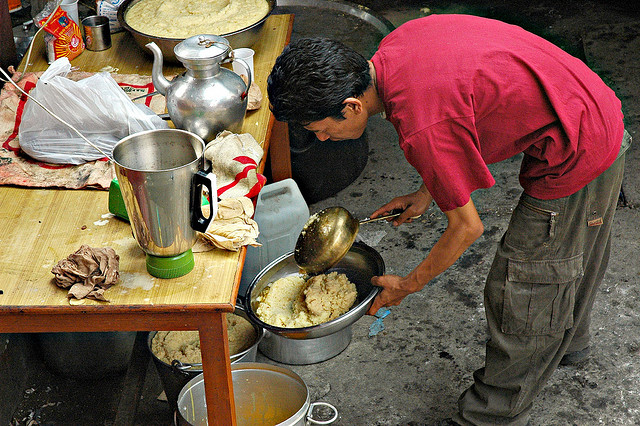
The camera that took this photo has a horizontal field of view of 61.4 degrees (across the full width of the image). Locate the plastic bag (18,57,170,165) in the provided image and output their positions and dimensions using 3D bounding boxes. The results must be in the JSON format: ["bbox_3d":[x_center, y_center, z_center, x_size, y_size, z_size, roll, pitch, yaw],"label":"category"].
[{"bbox_3d":[-1.160,-0.473,2.817,0.653,0.280,0.583,-10,65,-13],"label":"plastic bag"}]

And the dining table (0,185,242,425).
[{"bbox_3d":[-0.900,0.474,2.758,1.060,0.981,1.054,6,30,3],"label":"dining table"}]

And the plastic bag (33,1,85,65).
[{"bbox_3d":[-1.713,-1.199,3.559,0.263,0.300,0.444,-17,44,-21],"label":"plastic bag"}]

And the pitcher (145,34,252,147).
[{"bbox_3d":[-0.654,-0.675,2.896,0.503,0.599,0.414,11,32,10],"label":"pitcher"}]

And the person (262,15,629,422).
[{"bbox_3d":[0.714,0.105,2.820,1.561,2.011,0.946,16,42,16],"label":"person"}]

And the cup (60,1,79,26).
[{"bbox_3d":[-1.721,-1.403,3.719,0.097,0.164,0.288,-12,42,-16],"label":"cup"}]

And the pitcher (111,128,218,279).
[{"bbox_3d":[-0.621,0.006,2.260,0.428,0.504,0.315,5,21,14],"label":"pitcher"}]
